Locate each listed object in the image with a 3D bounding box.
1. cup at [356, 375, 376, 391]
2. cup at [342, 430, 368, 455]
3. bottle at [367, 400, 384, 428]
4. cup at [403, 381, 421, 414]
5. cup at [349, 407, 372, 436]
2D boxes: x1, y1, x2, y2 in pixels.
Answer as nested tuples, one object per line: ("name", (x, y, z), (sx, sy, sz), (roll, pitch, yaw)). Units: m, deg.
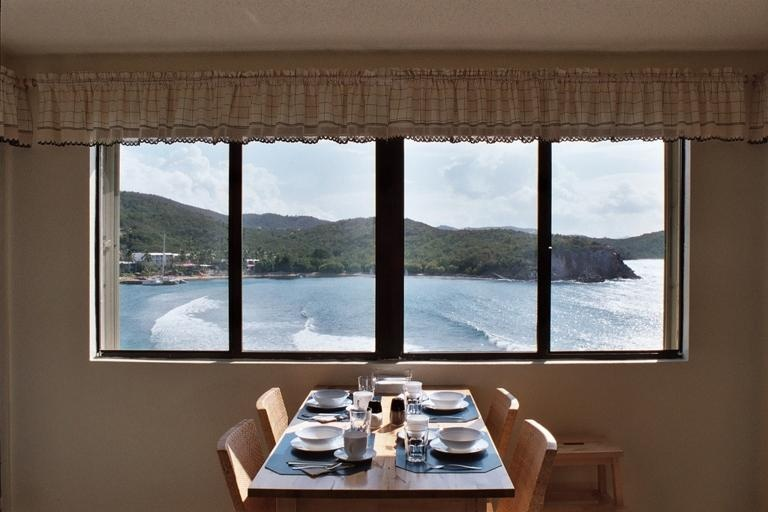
("cup", (-0.113, 0.779, 4.006), (0.106, 0.100, 0.118), (5, -10, -29))
("cup", (-0.149, 0.992, 3.442), (0.096, 0.101, 0.129), (0, -3, 4))
("bottle", (-0.042, 0.919, 3.781), (0.109, 0.192, 0.127), (0, -2, 3))
("cup", (0.196, 0.866, 3.910), (0.117, 0.191, 0.120), (0, -13, 0))
("cup", (-0.123, 0.910, 3.577), (0.135, 0.158, 0.142), (0, -7, 0))
